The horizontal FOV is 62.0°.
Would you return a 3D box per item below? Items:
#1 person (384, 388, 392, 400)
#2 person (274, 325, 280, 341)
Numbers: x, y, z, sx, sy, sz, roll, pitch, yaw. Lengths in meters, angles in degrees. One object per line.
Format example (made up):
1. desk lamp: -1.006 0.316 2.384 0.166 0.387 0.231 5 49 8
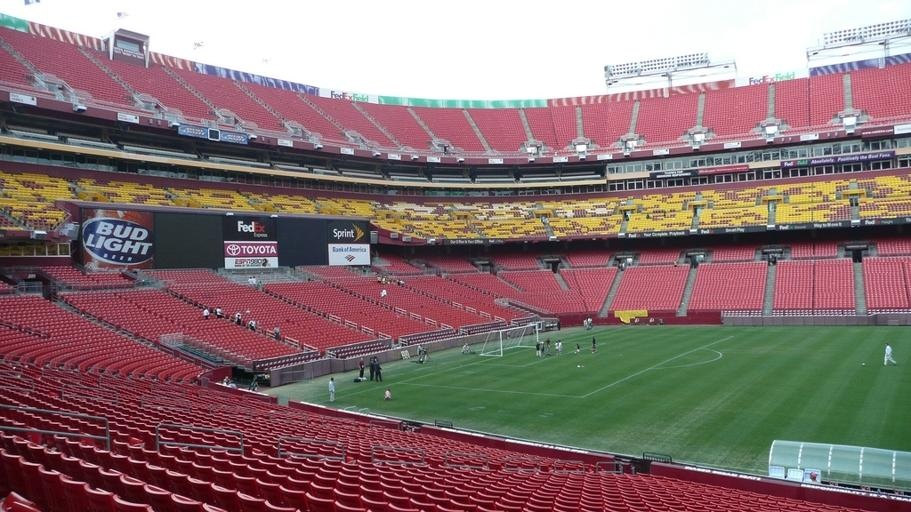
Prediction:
1. person: -4.993 10.309 55.941 0.754 0.390 0.761 8 2 -3
2. person: -15.366 6.631 64.739 0.519 0.974 1.293 1 -6 -15
